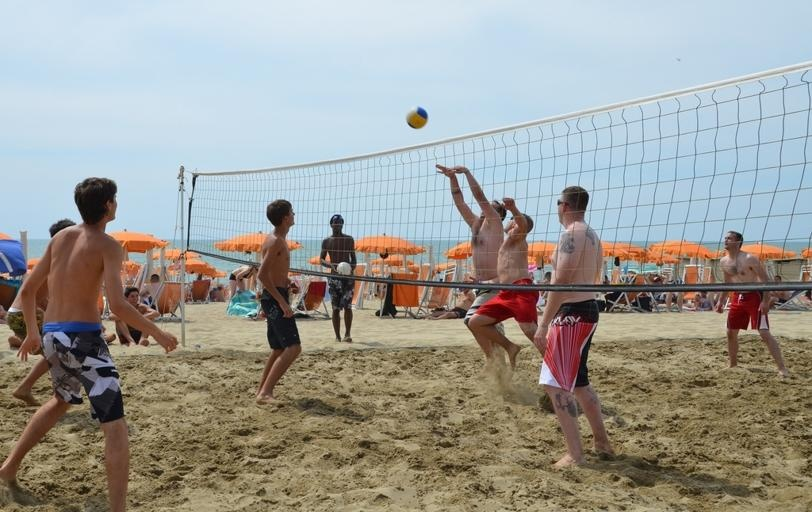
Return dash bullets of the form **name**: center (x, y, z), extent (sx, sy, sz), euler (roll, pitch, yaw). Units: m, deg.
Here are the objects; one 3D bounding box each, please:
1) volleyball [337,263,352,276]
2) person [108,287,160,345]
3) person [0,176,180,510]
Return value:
- **volleyball**: center (-0.743, 0.159, 9.701), extent (0.158, 0.193, 0.199), euler (10, 13, 39)
- **person**: center (-3.487, 0.780, 9.962), extent (0.598, 0.743, 0.773), euler (2, 0, -39)
- **person**: center (-2.296, 0.619, 5.571), extent (1.185, 1.600, 0.441), euler (2, 0, 26)
